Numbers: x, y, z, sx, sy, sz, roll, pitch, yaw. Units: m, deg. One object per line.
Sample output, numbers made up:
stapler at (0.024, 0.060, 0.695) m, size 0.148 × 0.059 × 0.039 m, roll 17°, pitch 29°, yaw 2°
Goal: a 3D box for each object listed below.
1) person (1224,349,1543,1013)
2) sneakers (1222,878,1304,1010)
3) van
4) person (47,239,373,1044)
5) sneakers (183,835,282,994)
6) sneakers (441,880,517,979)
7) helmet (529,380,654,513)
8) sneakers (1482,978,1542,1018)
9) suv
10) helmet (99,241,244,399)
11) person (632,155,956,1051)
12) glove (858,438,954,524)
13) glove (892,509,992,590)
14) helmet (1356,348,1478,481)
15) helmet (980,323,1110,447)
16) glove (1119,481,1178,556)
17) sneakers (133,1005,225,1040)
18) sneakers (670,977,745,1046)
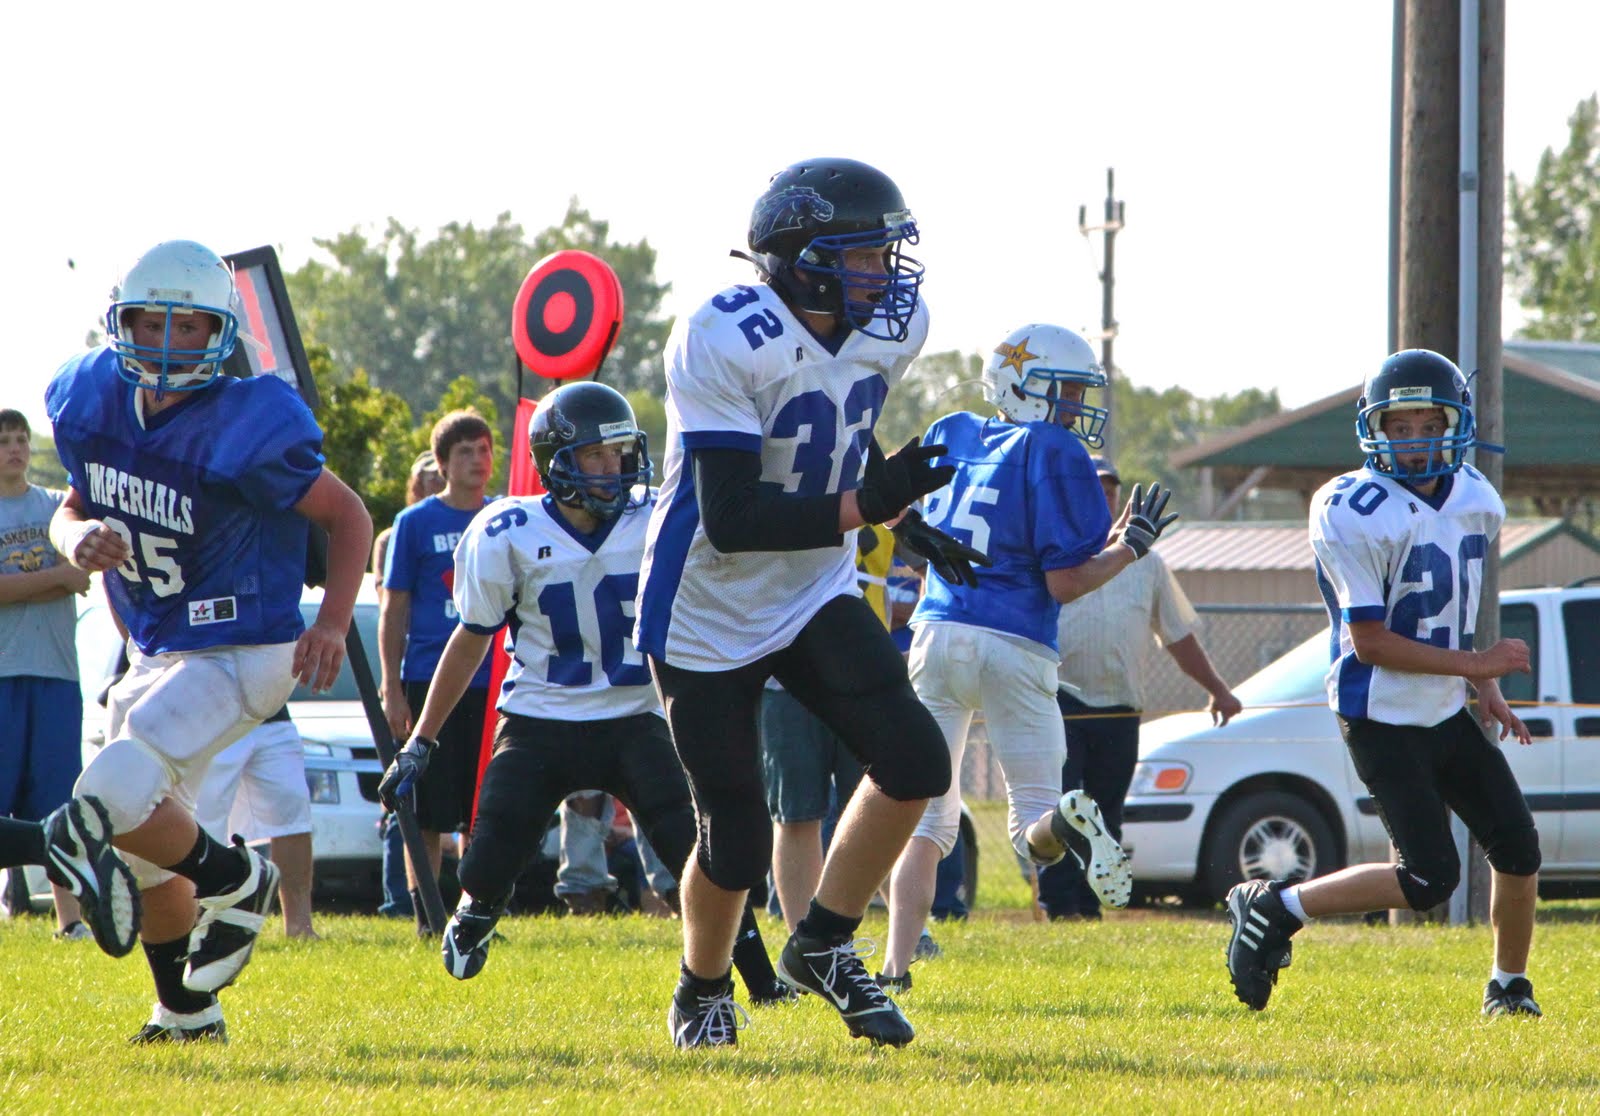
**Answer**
person at (2.303, 0.463, 9.826) m, size 1.114 × 2.612 × 0.779 m, roll -2°, pitch -1°, yaw 16°
sneakers at (1.815, 1.484, 9.800) m, size 0.286 × 0.580 × 0.199 m, roll -1°, pitch -2°, yaw 15°
van at (-3.316, 1.164, 13.786) m, size 1.445 × 1.340 × 2.434 m, roll 5°, pitch -17°, yaw -28°
person at (-2.039, 0.287, 8.517) m, size 1.055 × 2.720 × 0.558 m, roll -1°, pitch -1°, yaw -13°
sneakers at (-1.971, 1.260, 8.634) m, size 0.200 × 0.607 × 0.263 m, roll 13°, pitch -12°, yaw 39°
sneakers at (-1.254, 1.440, 9.616) m, size 0.151 × 0.414 × 0.180 m, roll 13°, pitch 1°, yaw -7°
helmet at (-0.884, -0.437, 9.894) m, size 0.523 × 0.511 × 0.420 m, roll 9°, pitch 12°, yaw 27°
sneakers at (2.732, 1.678, 9.586) m, size 0.215 × 0.140 × 0.246 m, roll -2°, pitch -1°, yaw 15°
suv at (3.227, 1.081, 14.487) m, size 2.725 × 1.401 × 1.493 m, roll 0°, pitch -6°, yaw 3°
helmet at (-2.166, -0.779, 8.489) m, size 0.425 × 0.479 × 0.565 m, roll 5°, pitch -9°, yaw -19°
person at (-0.039, 0.177, 8.429) m, size 1.052 × 3.024 × 0.747 m, roll -1°, pitch -1°, yaw -1°
glove at (0.337, -0.259, 8.160) m, size 0.302 × 0.274 × 0.183 m, roll -2°, pitch -1°, yaw 19°
glove at (0.467, -0.040, 8.386) m, size 0.317 × 0.254 × 0.204 m, roll -2°, pitch -1°, yaw 20°
helmet at (2.435, -0.587, 9.864) m, size 0.467 × 0.502 × 0.587 m, roll -3°, pitch 7°, yaw 5°
helmet at (1.017, -0.756, 10.335) m, size 0.587 × 0.476 × 0.480 m, roll 8°, pitch 10°, yaw 15°
glove at (1.361, -0.154, 9.843) m, size 0.224 × 0.272 × 0.092 m, roll 6°, pitch -7°, yaw 13°
sneakers at (-2.148, 1.615, 8.647) m, size 0.320 × 0.139 × 0.116 m, roll 4°, pitch -4°, yaw -6°
sneakers at (-0.337, 1.585, 8.650) m, size 0.123 × 0.356 × 0.153 m, roll 1°, pitch -31°, yaw -19°
